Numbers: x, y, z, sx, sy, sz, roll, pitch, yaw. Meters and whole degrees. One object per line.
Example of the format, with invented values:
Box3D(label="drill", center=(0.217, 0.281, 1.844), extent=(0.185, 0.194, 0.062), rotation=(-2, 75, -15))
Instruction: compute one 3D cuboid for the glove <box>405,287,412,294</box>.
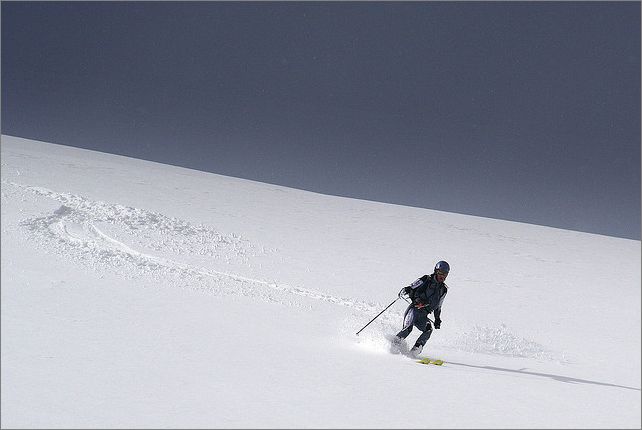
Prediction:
Box3D(label="glove", center=(1.407, 1.196, 10.118), extent=(0.067, 0.094, 0.089), rotation=(0, -12, -2))

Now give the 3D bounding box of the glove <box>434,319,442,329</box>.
Box3D(label="glove", center=(1.909, 1.765, 10.282), extent=(0.134, 0.209, 0.145), rotation=(1, -5, -1))

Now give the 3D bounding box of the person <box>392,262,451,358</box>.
Box3D(label="person", center=(1.624, 1.480, 10.248), extent=(0.724, 1.545, 0.850), rotation=(13, -15, 12))

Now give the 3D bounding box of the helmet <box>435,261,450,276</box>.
Box3D(label="helmet", center=(1.950, 0.830, 10.106), extent=(0.204, 0.237, 0.268), rotation=(15, -15, 3))
